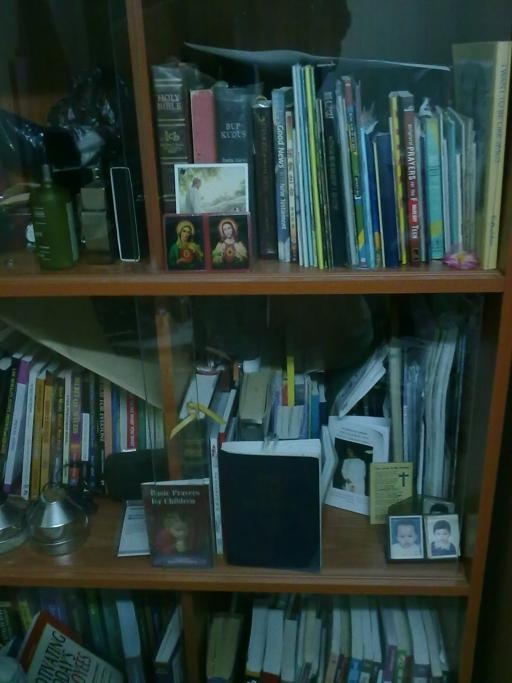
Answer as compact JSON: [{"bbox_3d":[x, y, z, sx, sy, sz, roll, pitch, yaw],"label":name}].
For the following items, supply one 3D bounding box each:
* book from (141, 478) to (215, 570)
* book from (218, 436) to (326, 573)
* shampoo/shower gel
[{"bbox_3d":[-0.136,0.323,1.035,0.137,0.197,0.075,3,18,10],"label":"book"},{"bbox_3d":[0.010,0.265,1.113,0.206,0.311,0.216,-4,15,-9],"label":"book"},{"bbox_3d":[-0.329,-0.196,0.921,0.074,0.161,0.064,-5,17,-7],"label":"shampoo/shower gel"}]
